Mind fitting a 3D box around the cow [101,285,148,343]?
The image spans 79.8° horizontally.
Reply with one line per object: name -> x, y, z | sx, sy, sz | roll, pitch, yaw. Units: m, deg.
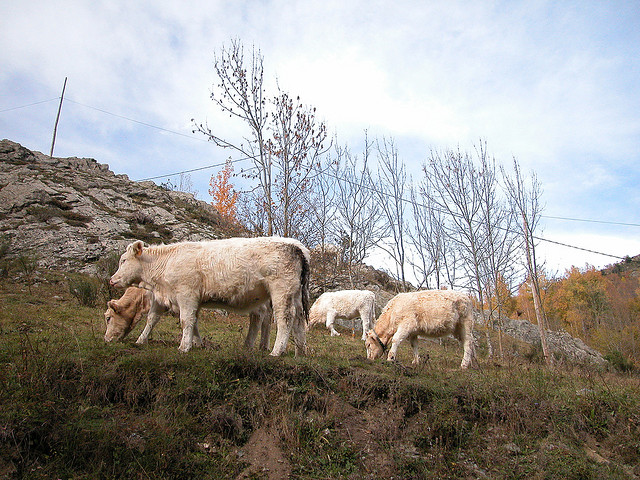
cow -> -5.092, 1.954, 10.374 | 0.674, 0.951, 1.759 | -23, 1, 32

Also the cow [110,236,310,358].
cow -> -2.863, 1.417, 9.911 | 5.194, 2.806, 1.845 | -1, -14, 17

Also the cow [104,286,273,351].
cow -> -3.469, 2.084, 10.047 | 3.669, 1.954, 1.076 | 9, -21, -9
